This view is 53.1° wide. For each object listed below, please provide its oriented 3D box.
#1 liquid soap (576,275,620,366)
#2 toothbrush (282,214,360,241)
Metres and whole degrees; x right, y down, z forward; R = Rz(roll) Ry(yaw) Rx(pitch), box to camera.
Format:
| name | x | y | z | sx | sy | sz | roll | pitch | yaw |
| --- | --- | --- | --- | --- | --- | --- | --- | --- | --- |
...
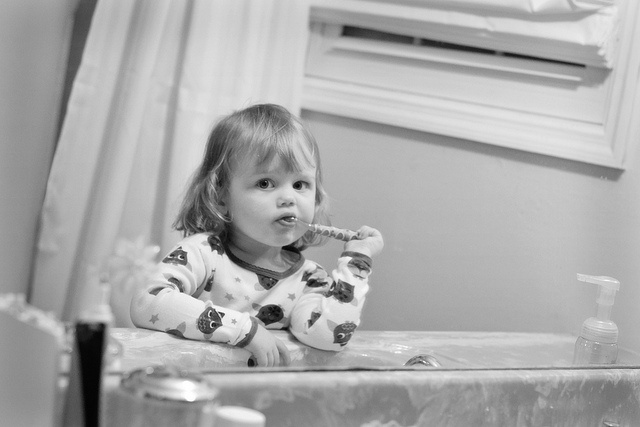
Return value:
| name | x | y | z | sx | sy | sz | roll | pitch | yaw |
| --- | --- | --- | --- | --- | --- | --- | --- | --- | --- |
| liquid soap | 0.504 | 0.193 | 1.154 | 0.102 | 0.168 | 0.045 | 11 | 0 | -25 |
| toothbrush | -0.005 | 0.020 | 0.955 | 0.101 | 0.016 | 0.015 | 13 | 37 | -29 |
